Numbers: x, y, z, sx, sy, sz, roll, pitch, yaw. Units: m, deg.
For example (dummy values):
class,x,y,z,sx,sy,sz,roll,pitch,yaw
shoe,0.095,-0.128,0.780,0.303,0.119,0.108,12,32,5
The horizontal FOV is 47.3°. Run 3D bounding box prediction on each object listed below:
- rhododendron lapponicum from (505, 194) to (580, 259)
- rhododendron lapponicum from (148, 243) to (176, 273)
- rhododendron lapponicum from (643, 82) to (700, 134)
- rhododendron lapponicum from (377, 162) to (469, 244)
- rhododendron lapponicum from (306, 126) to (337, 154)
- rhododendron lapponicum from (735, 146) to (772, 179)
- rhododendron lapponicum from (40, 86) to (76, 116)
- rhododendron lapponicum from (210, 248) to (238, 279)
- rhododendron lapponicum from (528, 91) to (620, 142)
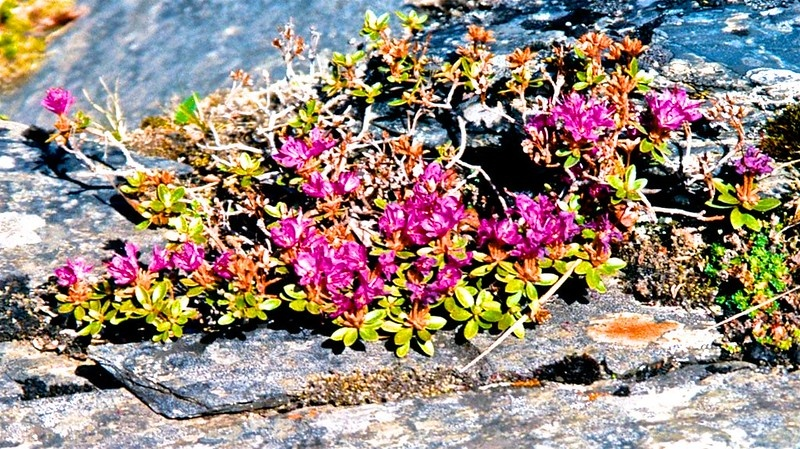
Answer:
class,x,y,z,sx,sy,sz,roll,pitch,yaw
rhododendron lapponicum,1.568,0.014,10.031,0.738,0.396,0.697,11,75,9
rhododendron lapponicum,-2.687,0.385,10.332,0.271,0.129,0.322,25,80,21
rhododendron lapponicum,3.081,-1.307,10.278,0.533,0.490,0.368,-13,37,12
rhododendron lapponicum,0.246,-0.201,10.355,1.015,0.481,0.882,0,78,2
rhododendron lapponicum,-0.905,-0.958,10.549,0.316,0.320,0.196,-21,36,1
rhododendron lapponicum,3.965,-0.711,10.274,0.371,0.236,0.339,0,37,3
rhododendron lapponicum,-3.923,-1.422,10.576,0.307,0.364,0.231,-34,38,-16
rhododendron lapponicum,-1.946,0.429,10.203,0.268,0.109,0.279,-22,72,24
rhododendron lapponicum,1.992,-1.101,10.301,0.724,0.386,0.664,-17,40,-34
